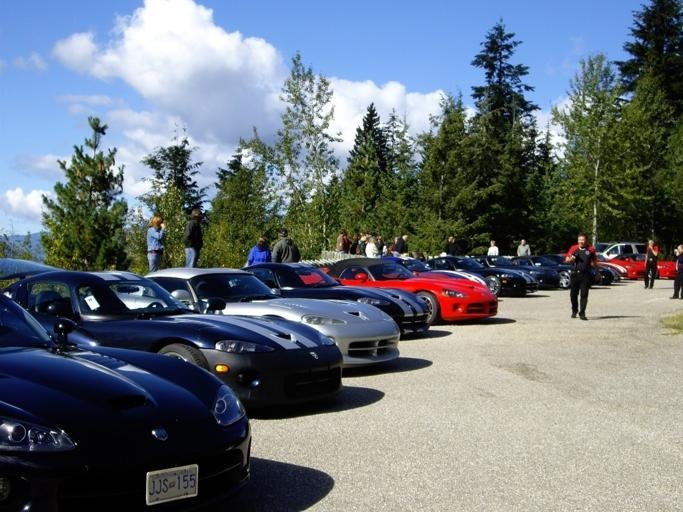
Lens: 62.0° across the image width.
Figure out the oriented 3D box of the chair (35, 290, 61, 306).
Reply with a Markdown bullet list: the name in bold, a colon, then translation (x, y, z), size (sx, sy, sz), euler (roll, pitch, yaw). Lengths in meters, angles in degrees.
- **chair**: translation (-3.584, 0.501, 6.926), size (0.252, 0.237, 0.242), euler (9, -1, -9)

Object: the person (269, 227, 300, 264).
- **person**: translation (-1.736, -0.268, 17.683), size (0.564, 1.055, 1.055), euler (9, 20, 42)
